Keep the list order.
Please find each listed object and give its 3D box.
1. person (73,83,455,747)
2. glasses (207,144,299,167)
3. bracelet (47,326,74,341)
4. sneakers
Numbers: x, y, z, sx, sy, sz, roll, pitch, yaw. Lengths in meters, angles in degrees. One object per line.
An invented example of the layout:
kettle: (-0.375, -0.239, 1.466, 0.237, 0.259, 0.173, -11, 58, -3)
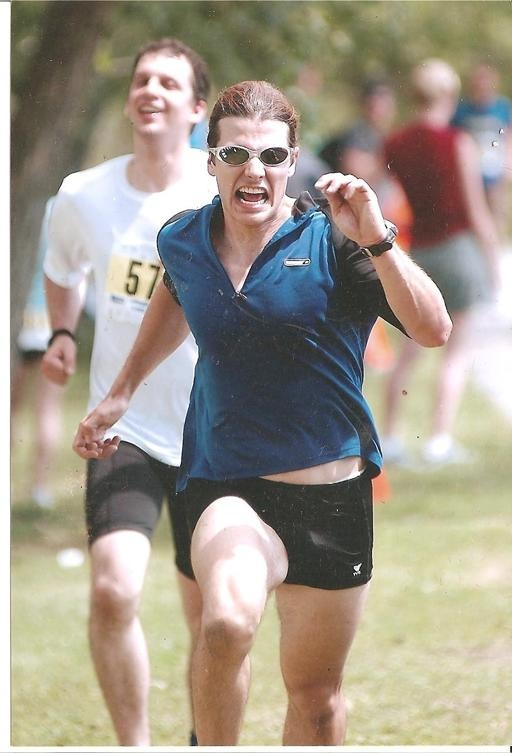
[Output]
person: (0.099, 0.155, 2.043, 0.535, 1.599, 0.672, -1, 13, -14)
glasses: (-0.008, -0.490, 2.039, 0.188, 0.048, 0.108, 1, 11, -4)
bracelet: (-0.585, -0.131, 2.760, 0.070, 0.016, 0.061, -1, -21, -5)
sneakers: (1.010, 0.437, 5.513, 0.718, 0.273, 0.204, -5, 21, 1)
